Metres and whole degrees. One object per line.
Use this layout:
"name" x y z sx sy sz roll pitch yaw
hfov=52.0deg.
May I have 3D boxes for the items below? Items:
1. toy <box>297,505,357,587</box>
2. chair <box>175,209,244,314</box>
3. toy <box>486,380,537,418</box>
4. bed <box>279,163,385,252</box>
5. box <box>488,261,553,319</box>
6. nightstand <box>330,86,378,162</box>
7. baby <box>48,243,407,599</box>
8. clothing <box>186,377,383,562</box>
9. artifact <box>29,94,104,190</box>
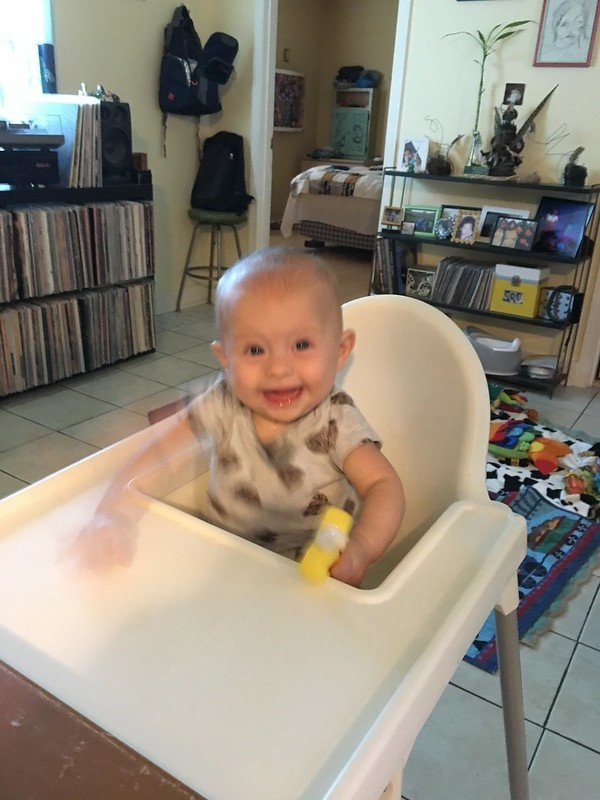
"toy" 0.022 0.120 0.506 0.042 0.064 0.018 22 13 8
"chair" -0.570 -0.976 4.306 0.579 0.649 0.594 -5 16 -30
"toy" 0.971 -0.003 2.791 0.261 0.097 0.084 29 12 23
"bed" 0.336 -1.665 5.532 0.869 0.413 0.855 17 27 26
"box" 1.156 -0.567 3.184 0.170 0.244 0.264 -12 24 -36
"nightstand" 0.688 -3.459 7.666 0.509 0.808 0.293 16 37 21
"baby" -0.072 0.109 0.745 0.394 0.544 0.275 2 28 9
"clothing" -0.032 0.076 0.772 0.235 0.205 0.130 7 32 16
"artifact" -1.049 -1.188 2.821 0.177 0.435 0.343 1 2 -15
